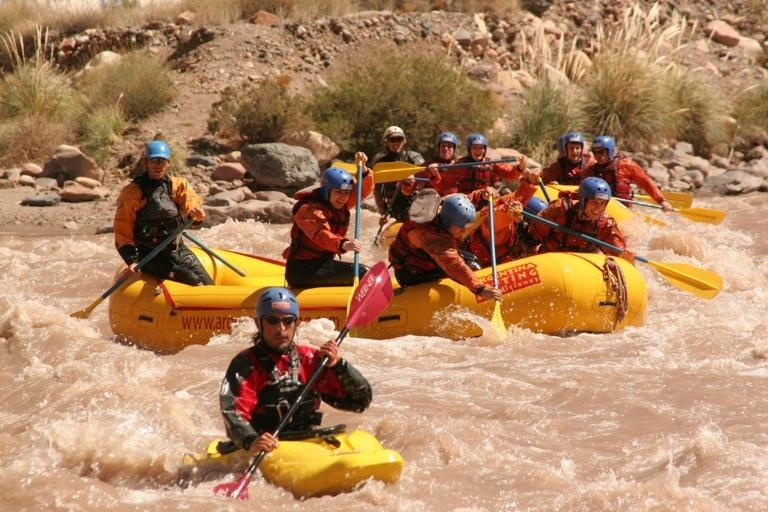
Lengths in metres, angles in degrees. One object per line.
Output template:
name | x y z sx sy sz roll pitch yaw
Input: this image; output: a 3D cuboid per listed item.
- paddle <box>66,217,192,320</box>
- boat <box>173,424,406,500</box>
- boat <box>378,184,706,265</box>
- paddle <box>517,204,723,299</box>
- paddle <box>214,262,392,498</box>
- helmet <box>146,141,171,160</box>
paddle | -3.525 0.283 14.274 1.930 0.093 0.335 -39 -2 21
boat | -0.935 2.290 11.620 1.765 0.433 0.893 -3 -1 28
boat | 2.942 -0.818 17.383 3.991 0.587 1.970 -8 17 16
paddle | 3.417 -0.044 15.320 3.530 0.535 0.257 23 -6 -4
paddle | -0.933 1.548 12.206 3.363 0.229 0.533 -48 21 -23
helmet | -3.056 -1.448 14.174 0.385 0.231 0.277 -8 27 -32
